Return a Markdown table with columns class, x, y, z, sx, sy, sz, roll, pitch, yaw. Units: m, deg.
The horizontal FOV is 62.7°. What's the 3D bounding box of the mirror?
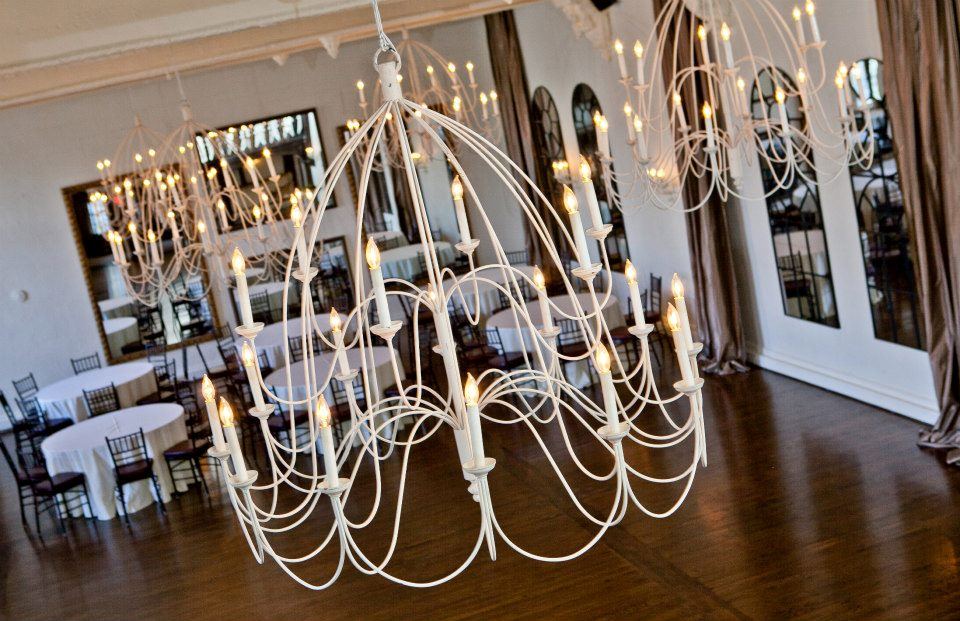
| class | x | y | z | sx | sy | sz | roll | pitch | yaw |
| --- | --- | --- | --- | --- | --- | --- | --- | --- | --- |
| mirror | 3.971 | -1.023 | 7.854 | 0.284 | 2.928 | 0.635 | -11 | 7 | -11 |
